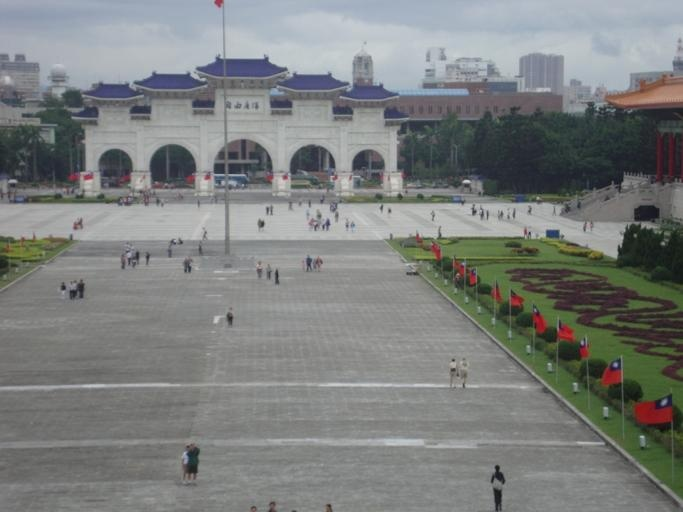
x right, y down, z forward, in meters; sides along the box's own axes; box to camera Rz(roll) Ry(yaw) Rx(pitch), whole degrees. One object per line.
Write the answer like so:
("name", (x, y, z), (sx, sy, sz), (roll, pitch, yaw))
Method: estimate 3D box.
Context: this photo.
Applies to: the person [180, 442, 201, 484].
("person", (-7.711, 10.790, 85.543), (0.877, 1.892, 0.685), (-1, 9, -6))
